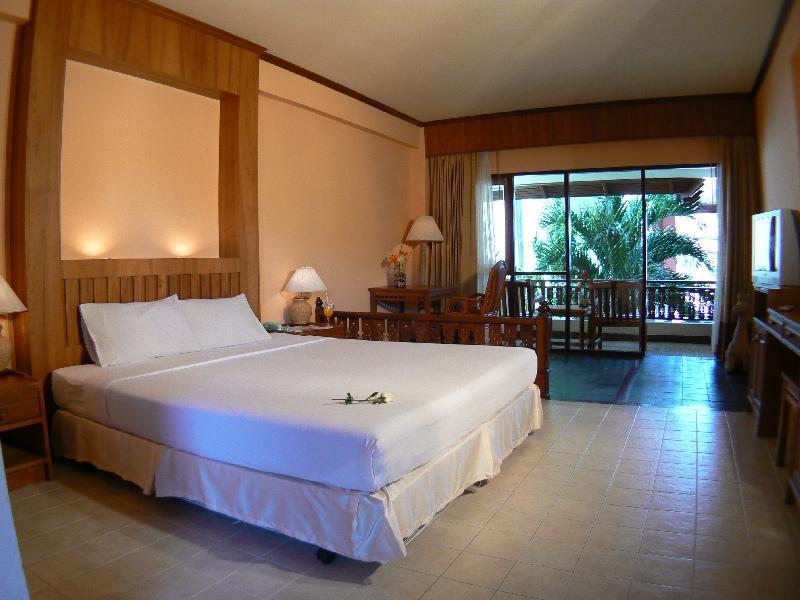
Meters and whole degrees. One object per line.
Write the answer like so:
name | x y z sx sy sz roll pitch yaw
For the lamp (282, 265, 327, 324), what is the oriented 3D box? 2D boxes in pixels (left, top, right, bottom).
lamp | -1.064 -0.050 6.037 0.531 0.697 0.546 0 -1 -6

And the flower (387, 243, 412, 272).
flower | -0.018 -0.623 7.717 0.346 0.167 0.375 -27 2 34

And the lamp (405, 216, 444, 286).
lamp | 0.341 -0.706 8.015 0.594 1.000 0.772 -1 10 0
